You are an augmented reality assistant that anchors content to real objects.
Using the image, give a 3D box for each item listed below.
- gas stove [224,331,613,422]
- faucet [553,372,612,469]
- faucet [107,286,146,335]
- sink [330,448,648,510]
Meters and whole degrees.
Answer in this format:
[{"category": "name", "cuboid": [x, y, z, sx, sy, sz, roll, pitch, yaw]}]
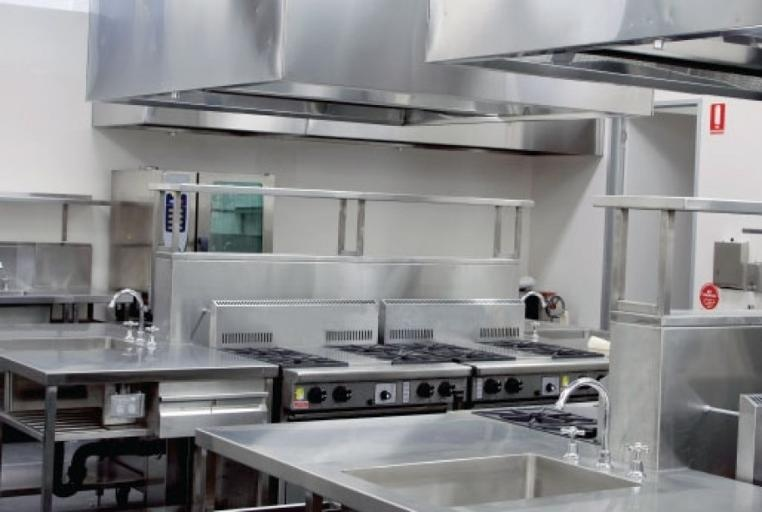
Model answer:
[{"category": "gas stove", "cuboid": [0.228, 0.696, 4.966, 2.002, 0.324, 0.537, -1, 7, -24]}, {"category": "faucet", "cuboid": [0.749, 0.618, 3.175, 0.224, 0.327, 0.075, -1, -17, 25]}, {"category": "faucet", "cuboid": [-1.489, 0.334, 5.281, 0.124, 0.260, 0.235, -14, -10, -4]}, {"category": "sink", "cuboid": [0.344, 0.836, 3.078, 0.888, 0.179, 0.265, 0, 6, -11]}]
